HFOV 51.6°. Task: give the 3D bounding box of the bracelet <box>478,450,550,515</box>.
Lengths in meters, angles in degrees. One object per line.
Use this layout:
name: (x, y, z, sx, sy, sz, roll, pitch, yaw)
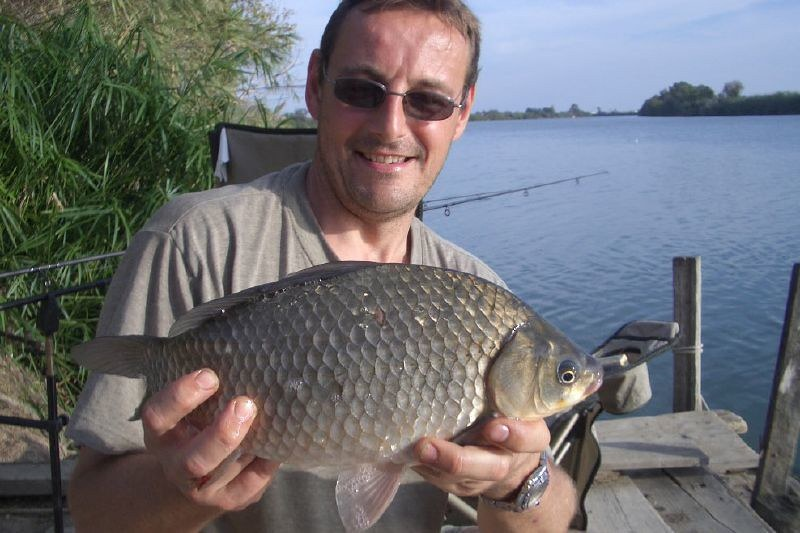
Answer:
bracelet: (0.983, 1.766, 6.774, 0.449, 0.209, 0.449, -26, 23, -21)
